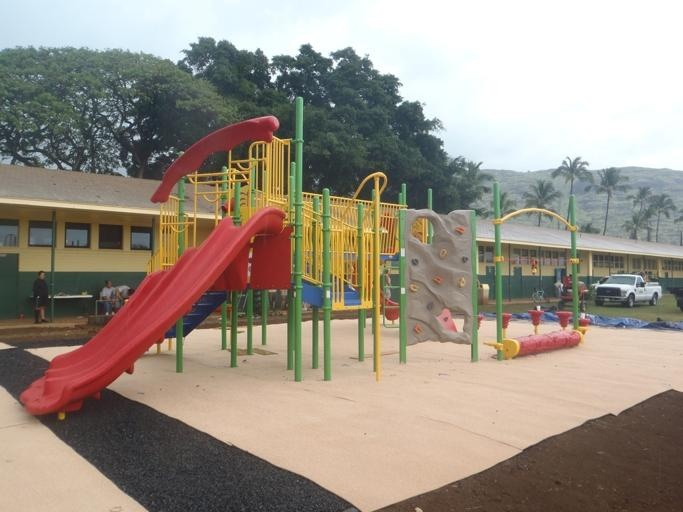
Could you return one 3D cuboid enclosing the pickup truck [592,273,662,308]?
[{"bbox_3d":[12.669,1.563,29.518,3.707,1.295,1.838,3,0,-41],"label":"pickup truck"}]

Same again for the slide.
[{"bbox_3d":[-2.831,0.706,11.149,1.124,2.764,5.156,5,12,41],"label":"slide"}]
